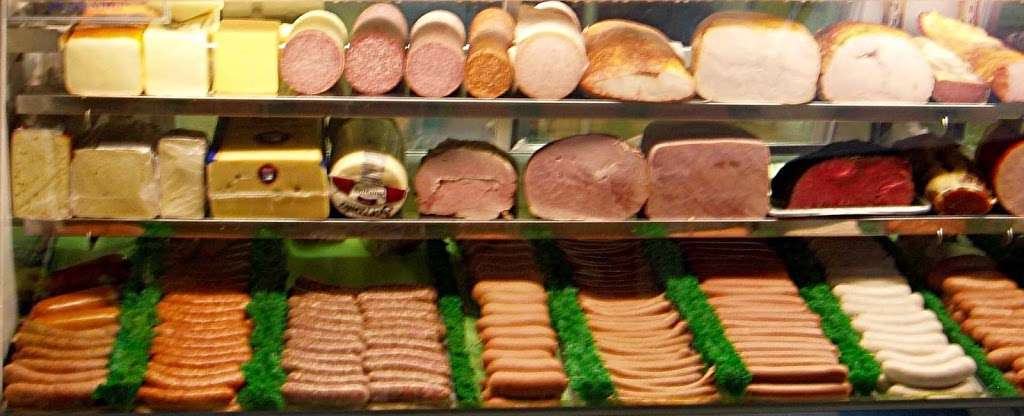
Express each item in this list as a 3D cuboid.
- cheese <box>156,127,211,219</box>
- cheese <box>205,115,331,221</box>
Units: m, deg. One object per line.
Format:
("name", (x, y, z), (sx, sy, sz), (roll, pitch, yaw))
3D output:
("cheese", (-2.537, -0.256, 5.024), (0.419, 0.681, 0.111), (-3, 10, 0))
("cheese", (-1.891, -0.275, 5.030), (1.216, 0.518, 1.453), (-2, 21, -10))
